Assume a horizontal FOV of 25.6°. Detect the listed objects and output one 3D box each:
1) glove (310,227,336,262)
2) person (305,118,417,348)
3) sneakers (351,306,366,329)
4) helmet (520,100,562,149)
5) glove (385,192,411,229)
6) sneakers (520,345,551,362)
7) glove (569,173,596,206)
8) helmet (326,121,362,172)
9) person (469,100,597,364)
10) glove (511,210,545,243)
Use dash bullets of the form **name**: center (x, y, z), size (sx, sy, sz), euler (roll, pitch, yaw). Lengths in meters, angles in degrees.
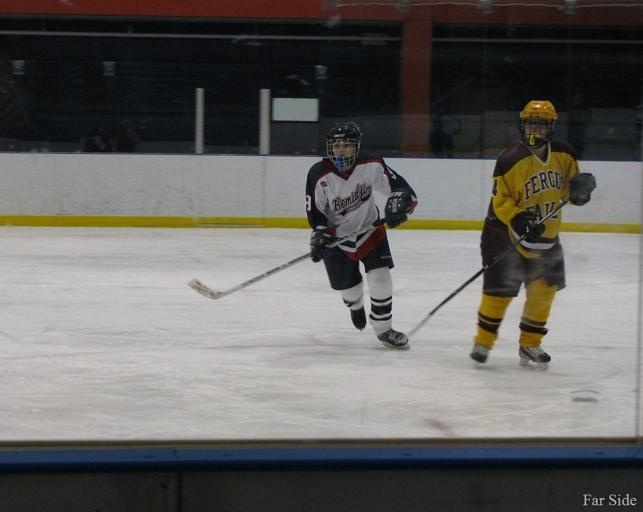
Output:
- **glove**: center (-0.013, -0.048, 6.261), size (0.076, 0.145, 0.114), euler (8, 23, -32)
- **person**: center (0.165, -0.102, 6.331), size (0.469, 1.006, 0.323), euler (0, 9, -1)
- **sneakers**: center (0.176, 0.284, 6.521), size (0.049, 0.118, 0.092), euler (-3, 6, 5)
- **helmet**: center (0.881, -0.537, 5.724), size (0.168, 0.178, 0.202), euler (1, 9, 23)
- **glove**: center (0.339, -0.208, 6.208), size (0.131, 0.145, 0.063), euler (8, 2, -3)
- **sneakers**: center (0.887, 0.415, 5.883), size (0.055, 0.058, 0.155), euler (-1, -1, -28)
- **glove**: center (1.066, -0.279, 5.834), size (0.112, 0.122, 0.144), euler (1, 3, 10)
- **helmet**: center (0.087, -0.478, 6.252), size (0.175, 0.183, 0.211), euler (-7, -11, 2)
- **person**: center (0.876, -0.089, 5.852), size (0.485, 1.112, 0.216), euler (1, 10, 4)
- **glove**: center (0.836, -0.126, 5.748), size (0.127, 0.119, 0.053), euler (-37, 9, -18)
